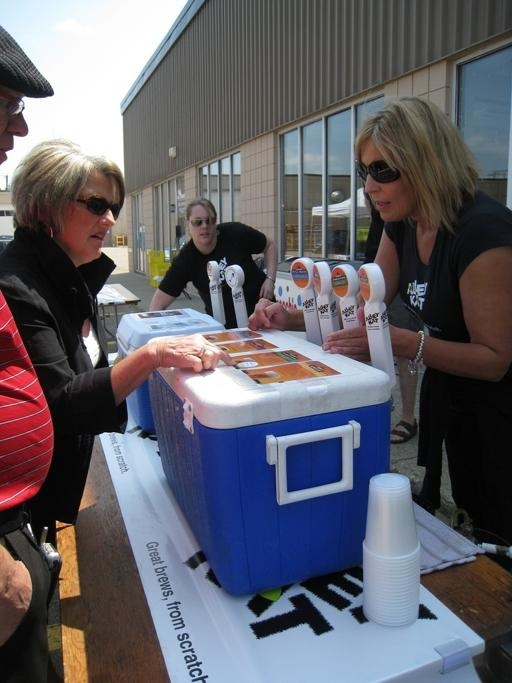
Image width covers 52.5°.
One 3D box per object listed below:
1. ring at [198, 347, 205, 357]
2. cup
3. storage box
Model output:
[{"bbox_3d":[-0.111,0.021,1.069,0.011,0.013,0.015,2,-3,-10],"label":"ring"},{"bbox_3d":[0.215,0.342,0.825,0.087,0.254,0.060,0,11,14],"label":"cup"},{"bbox_3d":[-0.030,0.214,1.053,0.412,0.374,0.760,-3,11,-20],"label":"storage box"}]
